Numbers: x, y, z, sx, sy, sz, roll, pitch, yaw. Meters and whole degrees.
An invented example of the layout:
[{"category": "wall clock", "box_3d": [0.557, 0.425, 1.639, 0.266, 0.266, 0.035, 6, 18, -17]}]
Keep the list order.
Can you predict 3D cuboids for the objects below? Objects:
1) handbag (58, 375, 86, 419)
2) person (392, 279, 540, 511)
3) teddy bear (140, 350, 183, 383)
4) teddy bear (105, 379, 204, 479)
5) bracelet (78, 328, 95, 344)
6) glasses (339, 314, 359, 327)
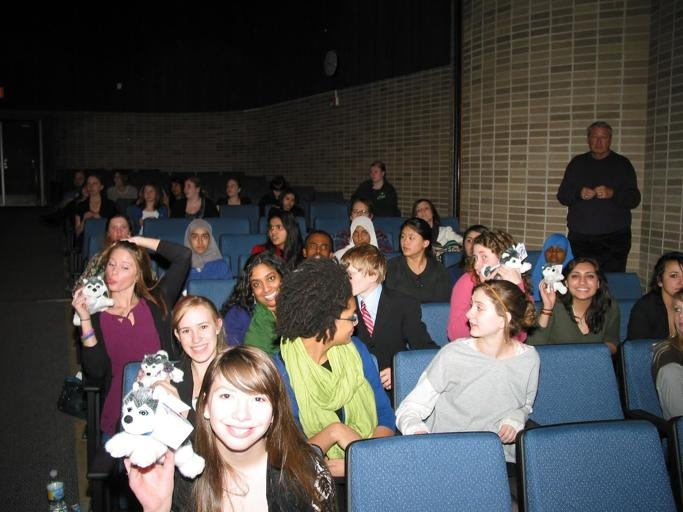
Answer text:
[{"category": "handbag", "box_3d": [-1.704, 0.899, 3.424, 0.148, 0.280, 0.272, 4, 28, -21]}, {"category": "person", "box_3d": [0.603, 0.500, 2.560, 0.696, 0.710, 0.274, -2, 8, -3]}, {"category": "teddy bear", "box_3d": [-0.775, 0.502, 2.358, 0.131, 0.117, 0.161, -26, -3, 13]}, {"category": "teddy bear", "box_3d": [-0.614, 0.611, 1.863, 0.267, 0.275, 0.351, 4, -16, 9]}, {"category": "bracelet", "box_3d": [-1.443, 0.454, 3.093, 0.065, 0.030, 0.075, -24, 13, 0]}, {"category": "glasses", "box_3d": [0.032, 0.293, 2.508, 0.080, 0.028, 0.082, 4, 2, -31]}]
